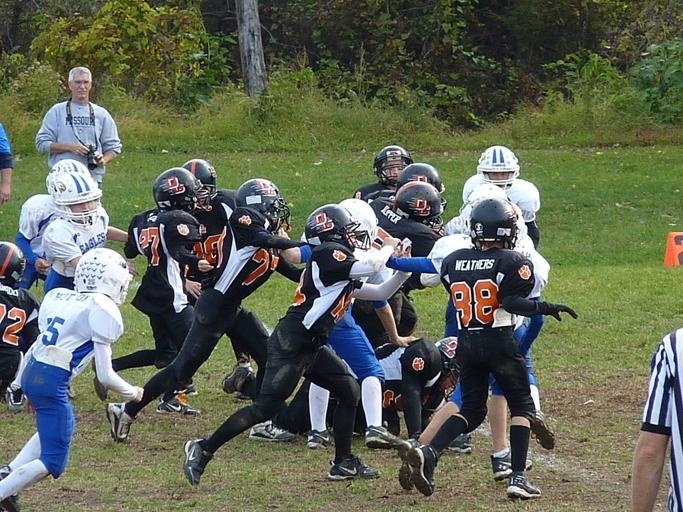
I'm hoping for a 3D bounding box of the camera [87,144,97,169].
[{"bbox_3d":[-3.132,-1.259,14.352,0.113,0.271,0.112,12,-29,-37],"label":"camera"}]

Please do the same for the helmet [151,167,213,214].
[{"bbox_3d":[-1.771,-0.747,12.789,0.602,0.434,0.420,-6,15,-12],"label":"helmet"}]

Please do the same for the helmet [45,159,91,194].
[{"bbox_3d":[-2.996,-0.896,12.660,0.448,0.347,0.326,25,25,-3],"label":"helmet"}]

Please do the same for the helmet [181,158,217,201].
[{"bbox_3d":[-1.546,-0.925,13.197,0.480,0.406,0.380,-4,7,-20],"label":"helmet"}]
